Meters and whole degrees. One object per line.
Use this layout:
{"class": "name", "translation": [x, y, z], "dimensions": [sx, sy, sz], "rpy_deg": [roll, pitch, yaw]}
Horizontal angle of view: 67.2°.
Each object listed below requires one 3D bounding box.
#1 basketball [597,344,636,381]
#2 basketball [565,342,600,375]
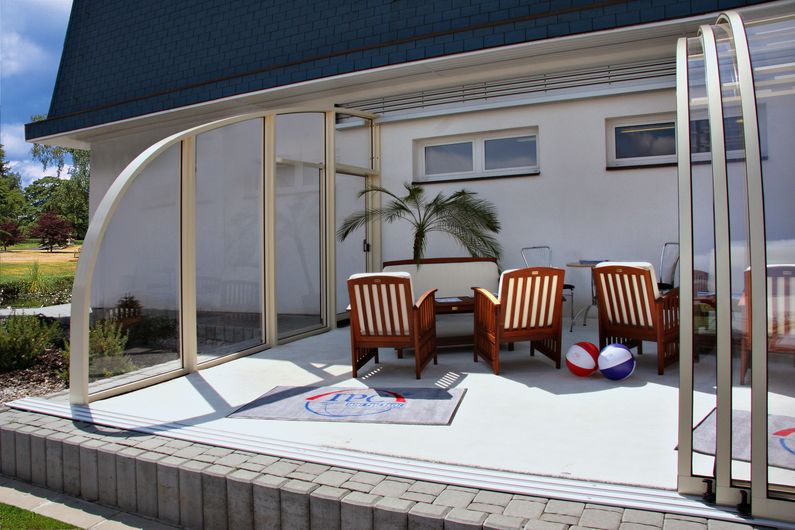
{"class": "basketball", "translation": [2.374, 1.057, 6.581], "dimensions": [0.377, 0.369, 0.371], "rpy_deg": [4, -4, 10]}
{"class": "basketball", "translation": [2.100, 1.097, 6.884], "dimensions": [0.363, 0.392, 0.347], "rpy_deg": [28, -28, -37]}
